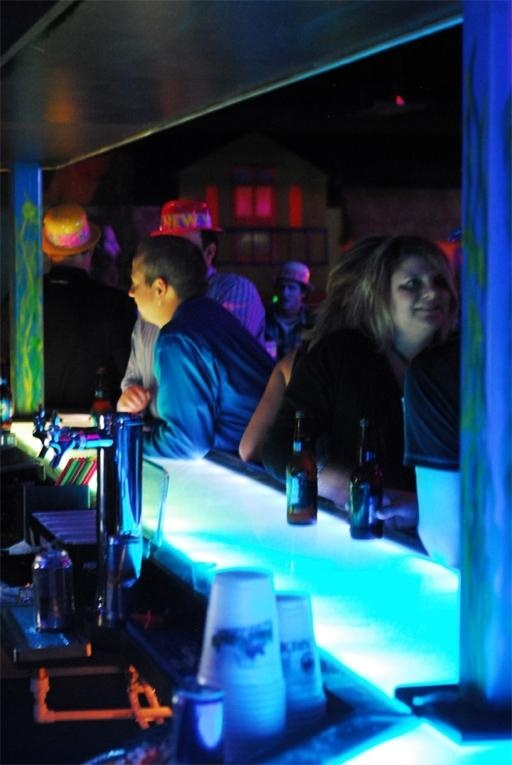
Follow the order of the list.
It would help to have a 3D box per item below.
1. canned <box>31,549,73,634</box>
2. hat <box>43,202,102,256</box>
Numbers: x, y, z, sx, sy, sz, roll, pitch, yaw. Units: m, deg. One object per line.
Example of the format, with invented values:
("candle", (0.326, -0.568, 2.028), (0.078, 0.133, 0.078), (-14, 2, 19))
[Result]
("canned", (-0.271, 0.276, 1.019), (0.054, 0.100, 0.050), (-8, 8, -7))
("hat", (-0.408, -0.349, 1.652), (0.148, 0.065, 0.170), (-7, 39, -14))
